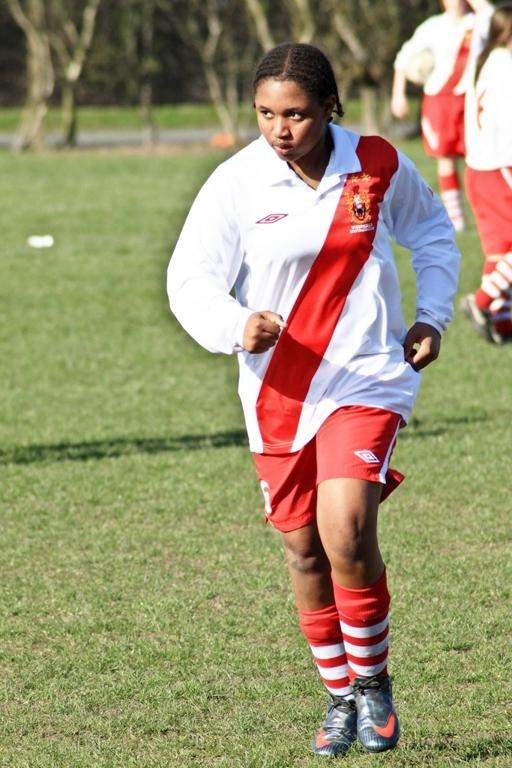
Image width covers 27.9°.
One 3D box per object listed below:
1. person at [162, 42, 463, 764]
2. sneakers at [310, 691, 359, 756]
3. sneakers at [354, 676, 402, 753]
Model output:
[{"bbox_3d":[0.256,0.139,2.673,0.760,1.598,0.607,-10,18,-31],"label":"person"},{"bbox_3d":[0.222,0.893,2.703,0.073,0.081,0.188,-2,41,27],"label":"sneakers"},{"bbox_3d":[0.301,0.837,2.652,0.084,0.097,0.226,-14,48,12],"label":"sneakers"}]
